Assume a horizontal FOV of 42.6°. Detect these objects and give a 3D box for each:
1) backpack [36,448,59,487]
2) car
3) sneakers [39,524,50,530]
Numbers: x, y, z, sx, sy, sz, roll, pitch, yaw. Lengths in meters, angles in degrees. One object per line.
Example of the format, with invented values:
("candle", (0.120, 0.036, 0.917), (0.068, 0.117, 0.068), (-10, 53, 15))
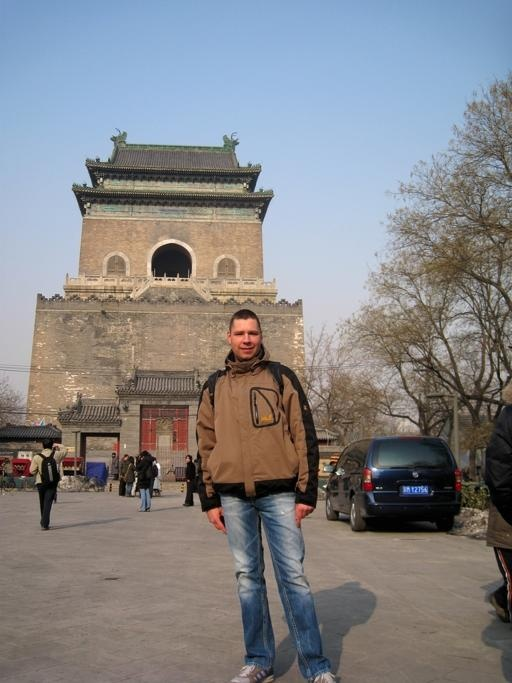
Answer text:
("backpack", (-3.555, 2.165, 11.273), (0.415, 0.630, 0.312), (9, -13, -16))
("car", (2.111, 2.212, 10.866), (1.348, 0.929, 2.523), (1, -8, -2))
("sneakers", (-3.446, 3.025, 10.716), (0.075, 0.073, 0.180), (1, -22, -1))
